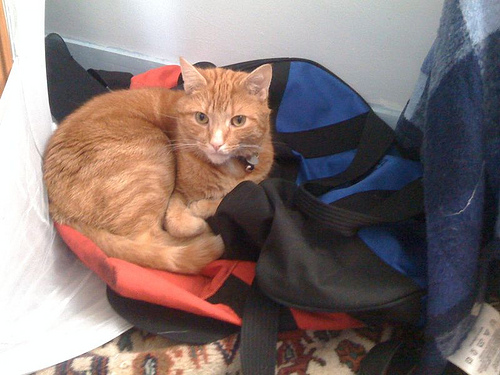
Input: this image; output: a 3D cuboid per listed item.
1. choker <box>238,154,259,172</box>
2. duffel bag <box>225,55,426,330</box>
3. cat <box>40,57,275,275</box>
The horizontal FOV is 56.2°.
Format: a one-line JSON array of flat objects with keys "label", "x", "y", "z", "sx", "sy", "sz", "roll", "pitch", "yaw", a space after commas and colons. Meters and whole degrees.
[{"label": "choker", "x": -0.004, "y": -0.095, "z": 1.786, "sx": 0.054, "sy": 0.074, "sz": 0.019, "roll": 0, "pitch": -8, "yaw": 9}, {"label": "duffel bag", "x": 0.302, "y": 0.029, "z": 1.615, "sx": 0.741, "sy": 0.943, "sz": 0.832, "roll": 1, "pitch": 29, "yaw": -1}, {"label": "cat", "x": -0.430, "y": -0.006, "z": 1.810, "sx": 0.812, "sy": 0.490, "sz": 0.753, "roll": 32, "pitch": 42, "yaw": 17}]
